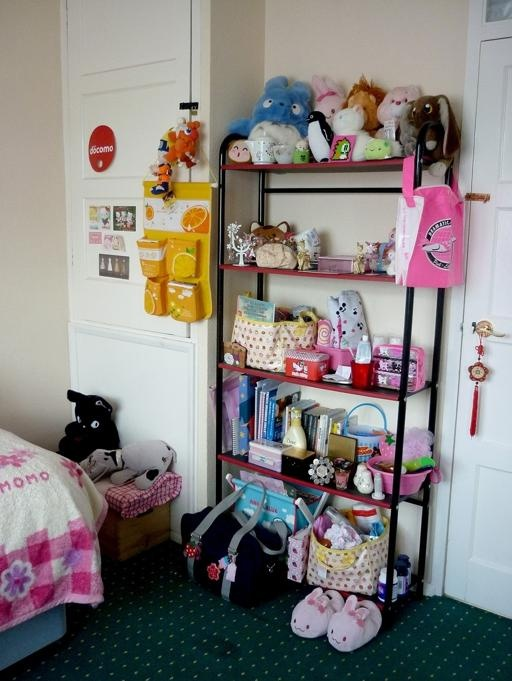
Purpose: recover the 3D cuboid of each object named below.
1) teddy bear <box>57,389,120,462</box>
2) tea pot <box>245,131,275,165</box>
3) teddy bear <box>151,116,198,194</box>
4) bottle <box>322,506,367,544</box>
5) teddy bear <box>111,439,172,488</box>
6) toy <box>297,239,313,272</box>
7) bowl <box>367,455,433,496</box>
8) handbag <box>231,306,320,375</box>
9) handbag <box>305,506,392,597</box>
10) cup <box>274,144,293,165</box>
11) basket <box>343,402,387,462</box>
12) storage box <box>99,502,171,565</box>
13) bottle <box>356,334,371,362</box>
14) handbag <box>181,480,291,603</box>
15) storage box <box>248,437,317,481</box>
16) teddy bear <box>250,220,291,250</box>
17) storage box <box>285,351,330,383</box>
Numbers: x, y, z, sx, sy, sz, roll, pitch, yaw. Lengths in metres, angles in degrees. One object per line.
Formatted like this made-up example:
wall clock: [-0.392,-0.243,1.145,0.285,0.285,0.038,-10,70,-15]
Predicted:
teddy bear: [-0.742,0.359,2.426,0.275,0.391,0.276,-1,1,19]
tea pot: [0.019,-0.664,1.867,0.121,0.122,0.086,-22,27,-38]
teddy bear: [-0.324,-0.691,2.066,0.128,0.287,0.317,-2,6,-42]
bottle: [0.288,0.643,1.865,0.081,0.038,0.106,-33,47,-25]
teddy bear: [-0.476,0.516,2.270,0.194,0.174,0.096,-23,-37,34]
toy: [0.169,-0.296,1.876,0.051,0.108,0.090,2,4,4]
bowl: [0.471,0.451,1.782,0.250,0.106,0.166,-2,6,-38]
handbag: [0.068,-0.002,2.036,0.338,0.179,0.343,1,12,-15]
handbag: [0.314,0.726,1.897,0.262,0.183,0.254,2,22,23]
cup: [0.096,-0.639,1.846,0.063,0.055,0.061,1,19,0]
basket: [0.392,0.328,1.949,0.160,0.218,0.189,3,-2,18]
storage box: [-0.530,0.760,2.256,0.235,0.194,0.313,10,2,31]
bottle: [0.354,0.026,1.790,0.053,0.083,0.185,2,5,11]
handbag: [-0.085,0.728,1.979,0.391,0.350,0.284,4,5,32]
storage box: [0.084,0.418,1.925,0.083,0.090,0.234,-6,9,-45]
teddy bear: [0.058,-0.411,2.058,0.132,0.137,0.048,7,-25,4]
storage box: [0.188,0.066,1.859,0.133,0.087,0.097,11,10,40]
